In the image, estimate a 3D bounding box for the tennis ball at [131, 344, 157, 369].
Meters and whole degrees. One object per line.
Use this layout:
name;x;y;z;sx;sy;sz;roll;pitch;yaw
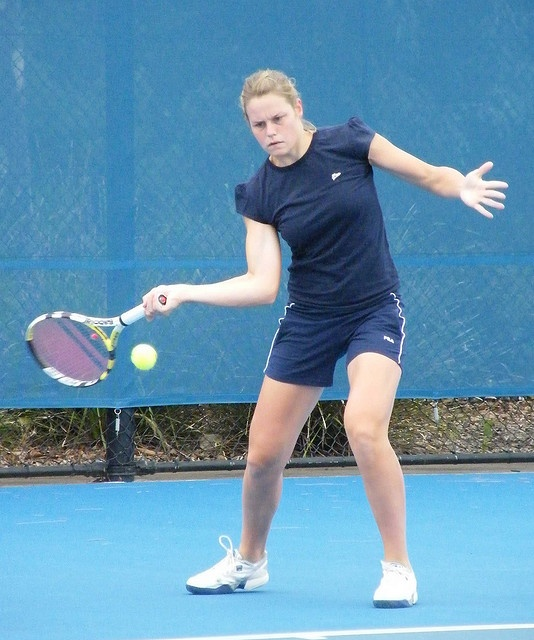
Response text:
tennis ball;-0.481;0.137;3.158;0.063;0.073;0.064;-26;-29;-16

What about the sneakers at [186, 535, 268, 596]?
sneakers;-0.104;0.728;2.412;0.282;0.190;0.098;-3;-8;-19

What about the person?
person;0.206;-0.012;2.922;1.378;1.955;0.873;-13;-21;35
